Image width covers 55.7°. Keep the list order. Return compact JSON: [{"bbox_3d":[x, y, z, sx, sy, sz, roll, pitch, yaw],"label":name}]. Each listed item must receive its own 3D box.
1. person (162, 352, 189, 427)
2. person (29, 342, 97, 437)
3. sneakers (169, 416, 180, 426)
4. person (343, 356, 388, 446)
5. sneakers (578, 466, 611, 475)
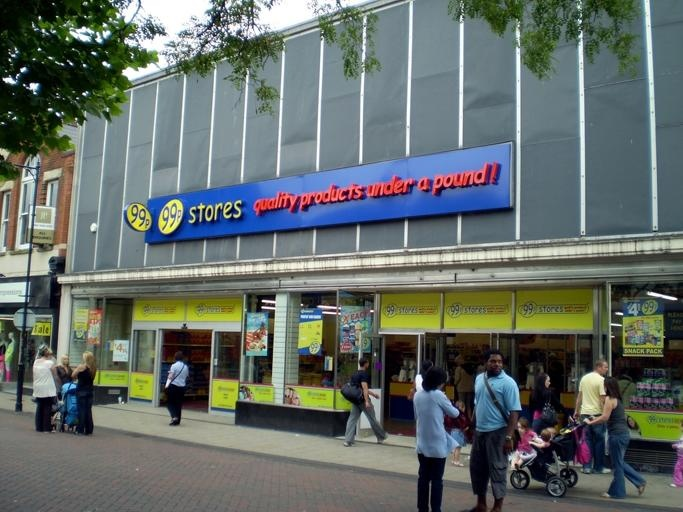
[{"bbox_3d":[-4.409,3.535,17.260,0.582,1.916,0.873,3,-9,-15],"label":"person"},{"bbox_3d":[-6.455,3.193,15.181,1.386,1.964,0.724,-2,-9,16],"label":"person"},{"bbox_3d":[-4.372,4.331,16.861,0.256,0.216,0.317,3,-9,-15],"label":"sneakers"},{"bbox_3d":[0.563,3.405,15.099,0.904,1.977,1.288,-3,-9,21],"label":"person"},{"bbox_3d":[4.874,4.115,12.397,0.548,0.254,0.193,-1,-11,0],"label":"sneakers"}]
